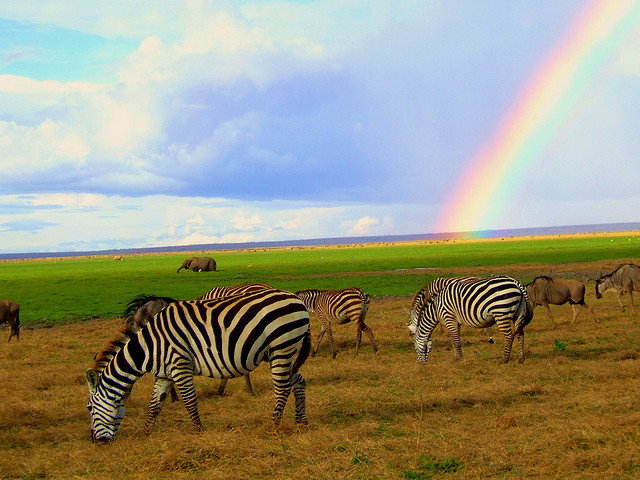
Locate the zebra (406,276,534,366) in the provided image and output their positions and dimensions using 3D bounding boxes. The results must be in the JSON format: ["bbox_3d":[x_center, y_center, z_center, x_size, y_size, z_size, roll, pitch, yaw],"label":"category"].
[{"bbox_3d":[4.573,2.564,25.217,3.954,2.983,1.258,-6,9,29],"label":"zebra"}]

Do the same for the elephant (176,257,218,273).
[{"bbox_3d":[-10.707,2.237,71.464,3.616,1.179,2.203,9,17,43],"label":"elephant"}]

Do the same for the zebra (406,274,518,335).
[{"bbox_3d":[4.643,2.352,25.022,4.236,2.328,1.110,-8,8,37],"label":"zebra"}]
